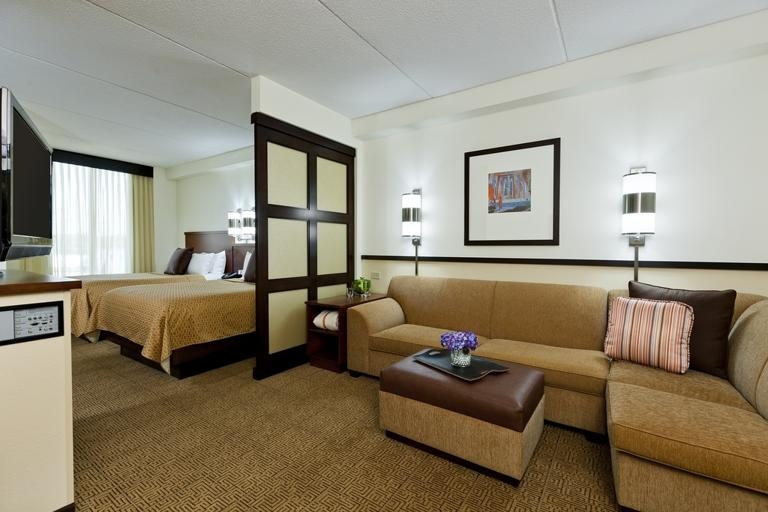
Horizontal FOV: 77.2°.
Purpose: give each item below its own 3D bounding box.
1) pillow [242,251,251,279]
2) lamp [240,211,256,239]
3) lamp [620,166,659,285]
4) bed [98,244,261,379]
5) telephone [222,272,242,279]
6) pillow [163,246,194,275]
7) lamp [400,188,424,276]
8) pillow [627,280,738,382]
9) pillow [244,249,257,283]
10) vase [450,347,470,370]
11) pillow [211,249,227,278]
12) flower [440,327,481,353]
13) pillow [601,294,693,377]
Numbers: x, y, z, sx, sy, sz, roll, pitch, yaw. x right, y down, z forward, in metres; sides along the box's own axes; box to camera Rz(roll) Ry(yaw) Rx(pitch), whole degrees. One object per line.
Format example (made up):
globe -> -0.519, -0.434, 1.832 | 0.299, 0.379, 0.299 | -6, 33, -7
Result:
pillow -> -1.770, 0.102, 6.197 | 0.093, 0.359, 0.320 | 6, 7, -14
lamp -> -1.929, -0.440, 6.812 | 0.158, 0.439, 0.221 | -1, 3, -23
lamp -> 2.201, -0.291, 4.174 | 0.270, 1.001, 0.233 | 2, 4, 29
bed -> -2.029, 0.606, 5.176 | 1.330, 1.050, 1.497 | 3, 4, 42
telephone -> -2.055, 0.270, 6.527 | 0.223, 0.065, 0.154 | 2, 0, -23
pillow -> -3.089, 0.076, 7.263 | 0.403, 0.296, 0.184 | -12, -5, 35
lamp -> 0.307, -0.272, 5.242 | 0.207, 0.942, 0.237 | 1, 3, 6
pillow -> 2.248, 0.598, 3.633 | 0.232, 0.597, 0.617 | 18, -13, -36
pillow -> -1.572, 0.121, 5.668 | 0.106, 0.344, 0.354 | 18, -9, -24
vase -> 0.583, 0.783, 3.668 | 0.125, 0.128, 0.143 | 4, -8, -31
pillow -> -2.413, 0.122, 7.055 | 0.294, 0.291, 0.089 | -6, -21, 26
flower -> 0.574, 0.637, 3.735 | 0.203, 0.126, 0.227 | 2, -6, -4
pillow -> 2.038, 0.624, 3.684 | 0.542, 0.544, 0.199 | 4, -13, 37
